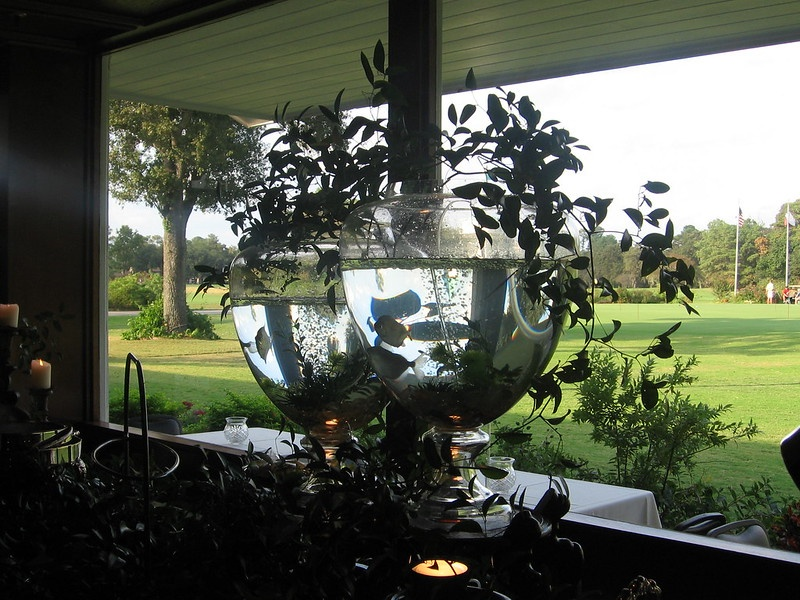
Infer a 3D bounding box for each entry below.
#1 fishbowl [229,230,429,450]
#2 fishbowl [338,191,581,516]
[{"bbox_3d":[-0.131,0.098,1.425,0.355,0.408,0.380,-2,-5,-8],"label":"fishbowl"},{"bbox_3d":[0.101,0.077,1.245,0.377,0.557,0.396,-4,3,-19],"label":"fishbowl"}]
